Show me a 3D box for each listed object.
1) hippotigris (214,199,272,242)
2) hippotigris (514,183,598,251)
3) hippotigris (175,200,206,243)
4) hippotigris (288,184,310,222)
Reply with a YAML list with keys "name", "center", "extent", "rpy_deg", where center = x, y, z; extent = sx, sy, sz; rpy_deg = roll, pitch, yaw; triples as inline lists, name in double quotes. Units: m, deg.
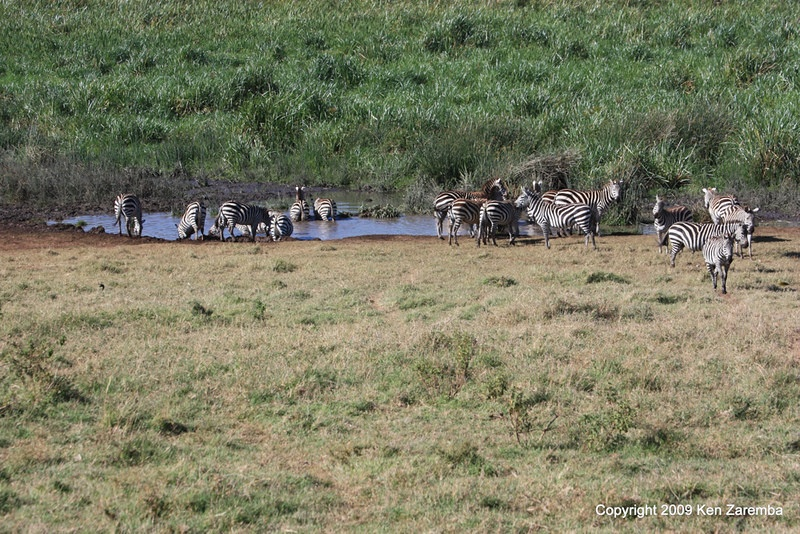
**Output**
- name: "hippotigris"
  center: [-5.541, -1.630, 44.948]
  extent: [2.533, 1.539, 0.714]
  rpy_deg: [2, 1, -39]
- name: "hippotigris"
  center: [5.502, -1.711, 43.794]
  extent: [2.827, 2.327, 0.878]
  rpy_deg: [0, 7, 14]
- name: "hippotigris"
  center: [-7.449, -1.684, 44.794]
  extent: [0.950, 1.341, 1.419]
  rpy_deg: [-4, 6, -21]
- name: "hippotigris"
  center: [-3.817, -2.519, 48.378]
  extent: [0.504, 1.103, 1.874]
  rpy_deg: [-1, 24, -4]
